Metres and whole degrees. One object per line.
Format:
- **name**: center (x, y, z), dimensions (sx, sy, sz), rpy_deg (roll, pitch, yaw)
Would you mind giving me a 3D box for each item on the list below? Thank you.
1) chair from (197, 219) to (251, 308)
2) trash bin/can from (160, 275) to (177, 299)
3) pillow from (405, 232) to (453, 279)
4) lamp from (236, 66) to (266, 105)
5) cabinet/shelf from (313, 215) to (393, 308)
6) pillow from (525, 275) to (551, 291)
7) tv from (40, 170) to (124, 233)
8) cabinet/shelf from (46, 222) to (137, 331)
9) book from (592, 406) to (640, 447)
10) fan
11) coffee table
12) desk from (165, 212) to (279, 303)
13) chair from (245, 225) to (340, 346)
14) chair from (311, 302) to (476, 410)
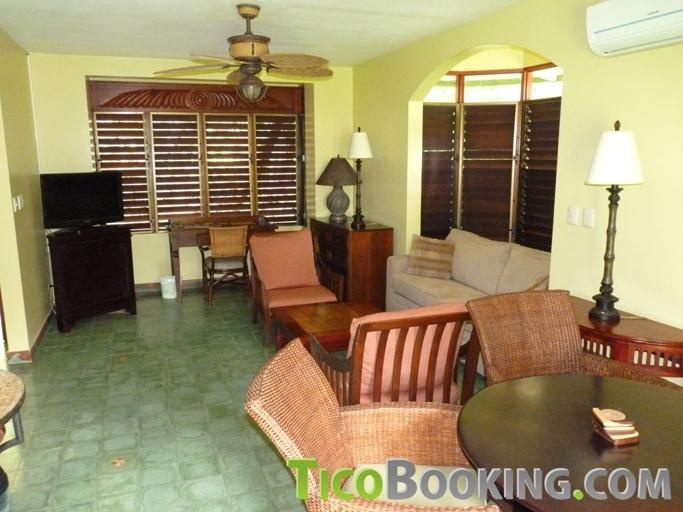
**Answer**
- **chair**: center (-1.482, 0.074, 6.210), dimensions (0.595, 0.958, 0.927), rpy_deg (-3, 14, -14)
- **trash bin/can**: center (-2.189, 0.404, 6.236), dimensions (0.157, 0.278, 0.299), rpy_deg (-6, 14, -23)
- **pillow**: center (0.885, 0.008, 5.082), dimensions (0.586, 0.465, 0.142), rpy_deg (-7, 1, -15)
- **lamp**: center (-0.667, -1.248, 3.617), dimensions (0.191, 0.234, 0.242), rpy_deg (-2, 13, -10)
- **cabinet/shelf**: center (0.093, 0.071, 6.063), dimensions (0.526, 0.831, 0.954), rpy_deg (-5, 9, -24)
- **pillow**: center (1.578, 0.218, 3.953), dimensions (0.043, 0.117, 0.081), rpy_deg (48, 12, 17)
- **tv**: center (-2.809, -0.600, 5.448), dimensions (1.032, 0.597, 0.102), rpy_deg (-2, 4, 13)
- **cabinet/shelf**: center (-2.935, 0.143, 5.634), dimensions (0.949, 1.070, 0.730), rpy_deg (-12, 28, -37)
- **book**: center (1.022, 0.634, 1.847), dimensions (0.137, 0.049, 0.124), rpy_deg (-1, 9, -4)
- **fan**: center (-0.965, -1.908, 4.459), dimensions (1.224, 0.468, 1.047), rpy_deg (5, 15, 19)
- **coffee table**: center (-0.191, 0.550, 3.997), dimensions (0.618, 0.268, 0.578), rpy_deg (-5, 11, -22)
- **desk**: center (-1.508, 0.036, 6.014), dimensions (1.299, 0.780, 0.507), rpy_deg (-4, 8, -24)
- **chair**: center (-0.494, 0.234, 5.005), dimensions (0.966, 0.854, 0.970), rpy_deg (-12, 17, -33)
- **chair**: center (0.259, 0.493, 3.002), dimensions (0.585, 0.616, 0.758), rpy_deg (-5, 13, -18)
